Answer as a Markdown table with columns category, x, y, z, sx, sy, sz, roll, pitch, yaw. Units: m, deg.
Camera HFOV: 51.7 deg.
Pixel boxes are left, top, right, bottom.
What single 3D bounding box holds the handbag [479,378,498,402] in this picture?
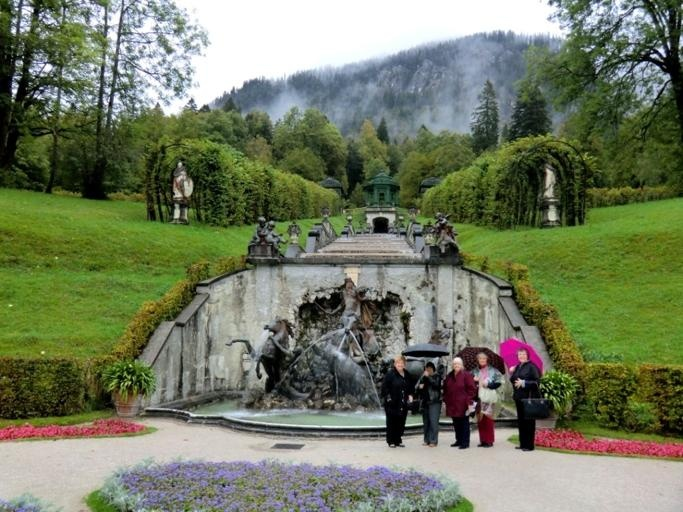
| category | x | y | z | sx | sy | sz | roll | pitch | yaw |
| --- | --- | --- | --- | --- | --- | --- | --- | --- | --- |
| handbag | 4.105 | 3.784 | 19.857 | 0.537 | 0.648 | 0.309 | 3 | -15 | -7 |

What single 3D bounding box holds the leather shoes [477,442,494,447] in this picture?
| category | x | y | z | sx | sy | sz | roll | pitch | yaw |
| --- | --- | --- | --- | --- | --- | --- | --- | --- | --- |
| leather shoes | 4.078 | 5.341 | 19.986 | 0.458 | 0.129 | 0.286 | 2 | -1 | 5 |

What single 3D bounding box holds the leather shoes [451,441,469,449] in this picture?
| category | x | y | z | sx | sy | sz | roll | pitch | yaw |
| --- | --- | --- | --- | --- | --- | --- | --- | --- | --- |
| leather shoes | 3.322 | 5.332 | 19.951 | 0.421 | 0.201 | 0.165 | 3 | -7 | 20 |

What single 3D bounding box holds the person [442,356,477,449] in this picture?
| category | x | y | z | sx | sy | sz | roll | pitch | yaw |
| --- | --- | --- | --- | --- | --- | --- | --- | --- | --- |
| person | 3.341 | 4.150 | 19.999 | 0.943 | 2.524 | 0.402 | 2 | -1 | 9 |

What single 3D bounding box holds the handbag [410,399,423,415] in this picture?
| category | x | y | z | sx | sy | sz | roll | pitch | yaw |
| --- | --- | --- | --- | --- | --- | --- | --- | --- | --- |
| handbag | 2.126 | 4.254 | 20.108 | 0.349 | 0.481 | 0.615 | 2 | -1 | 11 |

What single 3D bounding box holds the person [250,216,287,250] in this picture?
| category | x | y | z | sx | sy | sz | roll | pitch | yaw |
| --- | --- | --- | --- | --- | --- | --- | --- | --- | --- |
| person | -3.250 | -1.027 | 30.998 | 1.611 | 1.674 | 1.139 | 0 | 10 | 1 |

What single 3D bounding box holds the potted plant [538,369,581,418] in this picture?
| category | x | y | z | sx | sy | sz | roll | pitch | yaw |
| --- | --- | --- | --- | --- | --- | --- | --- | --- | --- |
| potted plant | 6.844 | 4.443 | 22.617 | 1.287 | 1.445 | 1.358 | 3 | -5 | 9 |

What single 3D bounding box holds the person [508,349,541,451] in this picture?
| category | x | y | z | sx | sy | sz | roll | pitch | yaw |
| --- | --- | --- | --- | --- | --- | --- | --- | --- | --- |
| person | 5.170 | 4.020 | 19.906 | 0.828 | 2.821 | 0.595 | 2 | -1 | 5 |

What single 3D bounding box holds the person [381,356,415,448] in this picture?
| category | x | y | z | sx | sy | sz | roll | pitch | yaw |
| --- | --- | --- | --- | --- | --- | --- | --- | --- | --- |
| person | 1.585 | 4.142 | 20.159 | 0.891 | 2.617 | 0.748 | 2 | -1 | 4 |

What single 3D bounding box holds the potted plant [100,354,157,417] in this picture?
| category | x | y | z | sx | sy | sz | roll | pitch | yaw |
| --- | --- | --- | --- | --- | --- | --- | --- | --- | --- |
| potted plant | -7.248 | 4.499 | 23.850 | 1.572 | 1.728 | 1.560 | -9 | -12 | 40 |

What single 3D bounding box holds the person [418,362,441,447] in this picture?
| category | x | y | z | sx | sy | sz | roll | pitch | yaw |
| --- | --- | --- | --- | --- | --- | --- | --- | --- | --- |
| person | 2.501 | 4.225 | 20.240 | 0.696 | 2.416 | 0.703 | 1 | -1 | 16 |
